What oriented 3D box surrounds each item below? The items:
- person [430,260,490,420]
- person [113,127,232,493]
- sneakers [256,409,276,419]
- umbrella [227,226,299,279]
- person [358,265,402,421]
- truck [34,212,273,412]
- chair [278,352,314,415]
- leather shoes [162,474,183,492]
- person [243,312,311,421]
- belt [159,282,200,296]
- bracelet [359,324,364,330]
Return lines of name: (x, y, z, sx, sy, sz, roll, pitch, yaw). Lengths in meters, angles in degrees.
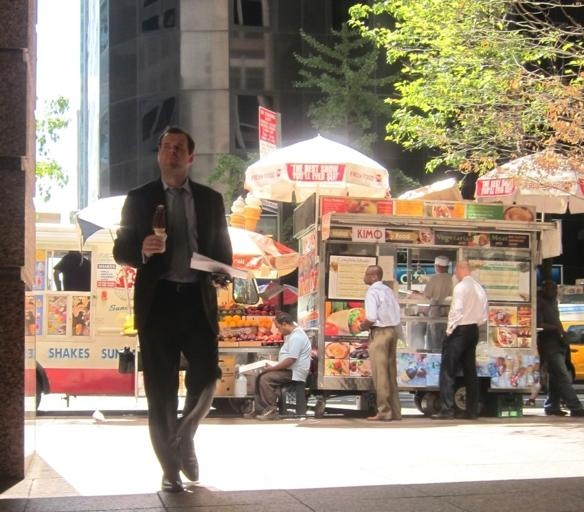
person: (2.322, 1.169, 14.759, 0.658, 2.179, 0.513, 0, 1, -44)
person: (-0.965, 0.412, 8.688, 0.958, 2.934, 0.581, 0, 1, -10)
sneakers: (-0.362, 2.215, 14.752, 0.212, 0.082, 0.126, -15, -3, 9)
umbrella: (-0.550, 0.004, 16.899, 0.930, 0.302, 0.955, 23, 8, 21)
person: (1.175, 1.188, 14.379, 0.466, 2.095, 0.559, 1, 1, 29)
truck: (-1.818, 0.762, 13.232, 3.638, 2.160, 1.334, -1, -4, -9)
chair: (0.082, 1.919, 15.381, 0.327, 0.520, 0.305, 15, -3, 3)
leather shoes: (-0.959, 1.825, 8.487, 0.182, 0.118, 0.151, 0, 1, -1)
person: (-0.161, 1.570, 14.909, 0.829, 1.466, 0.475, 0, 1, -2)
belt: (-0.909, 0.265, 8.608, 0.312, 0.116, 0.027, 0, 1, -10)
bracelet: (0.927, 0.968, 14.321, 0.096, 0.096, 0.105, 0, 12, 1)
